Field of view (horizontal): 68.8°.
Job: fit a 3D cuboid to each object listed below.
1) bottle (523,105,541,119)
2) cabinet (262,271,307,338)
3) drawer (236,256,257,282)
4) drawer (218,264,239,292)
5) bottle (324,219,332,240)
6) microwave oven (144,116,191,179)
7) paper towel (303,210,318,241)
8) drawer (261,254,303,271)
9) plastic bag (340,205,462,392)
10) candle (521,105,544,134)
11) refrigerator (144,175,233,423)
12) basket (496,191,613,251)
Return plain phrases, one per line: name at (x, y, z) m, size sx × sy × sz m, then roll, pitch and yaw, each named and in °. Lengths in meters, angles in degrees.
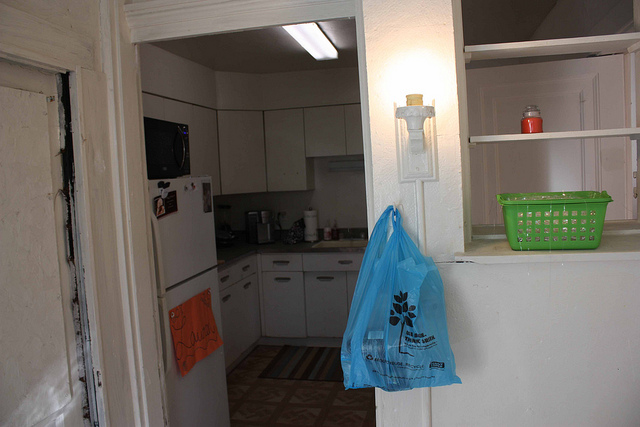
bottle at (1.127, -0.536, 2.489) m, size 0.075 × 0.064 × 0.109 m, roll 2°, pitch 12°, yaw 28°
cabinet at (-0.318, 0.868, 4.746) m, size 0.356 × 0.658 × 0.458 m, roll -2°, pitch 4°, yaw 4°
drawer at (-0.713, 0.523, 4.467) m, size 0.145 × 0.110 × 0.245 m, roll -3°, pitch 1°, yaw 18°
drawer at (-0.826, 0.559, 4.132) m, size 0.039 × 0.155 × 0.169 m, roll 1°, pitch 3°, yaw 21°
bottle at (0.087, 0.171, 5.179) m, size 0.082 × 0.188 × 0.184 m, roll -2°, pitch 10°, yaw 9°
microwave oven at (-1.000, -0.458, 3.367) m, size 0.501 × 0.361 × 0.324 m, roll 6°, pitch 9°, yaw 34°
paper towel at (-0.110, 0.118, 5.148) m, size 0.149 × 0.316 × 0.176 m, roll -4°, pitch 10°, yaw -4°
drawer at (-0.374, 0.479, 4.685) m, size 0.259 × 0.119 × 0.207 m, roll 0°, pitch 0°, yaw 6°
plastic bag at (0.401, 0.403, 2.302) m, size 0.529 × 0.847 × 0.361 m, roll -3°, pitch -4°, yaw 33°
candle at (1.122, -0.489, 2.495) m, size 0.107 × 0.164 × 0.111 m, roll -12°, pitch 15°, yaw -27°
refrigerator at (-0.839, 0.623, 3.099) m, size 0.216 × 1.725 × 0.784 m, roll -1°, pitch 10°, yaw 11°
basket at (1.126, 0.044, 2.270) m, size 0.494 × 0.260 × 0.107 m, roll -2°, pitch 10°, yaw 4°
